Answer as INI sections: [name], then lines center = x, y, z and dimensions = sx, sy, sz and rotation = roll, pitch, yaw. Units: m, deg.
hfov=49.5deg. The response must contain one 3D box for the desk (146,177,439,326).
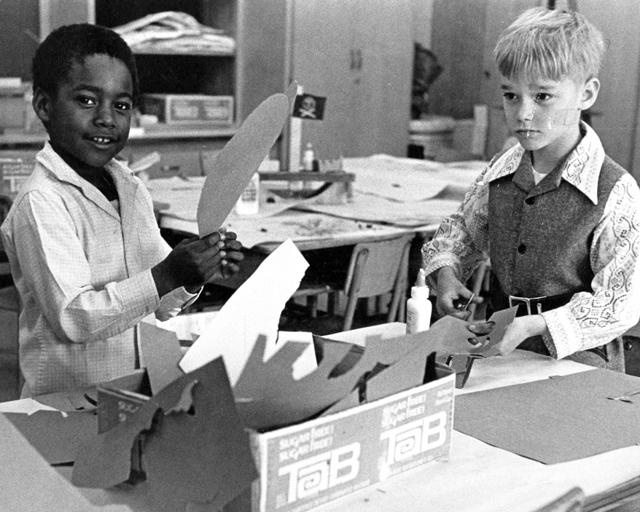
[desk]
center = -0.100, 0.079, 2.482
dimensions = 0.784, 0.487, 0.556
rotation = 8, 10, 41
